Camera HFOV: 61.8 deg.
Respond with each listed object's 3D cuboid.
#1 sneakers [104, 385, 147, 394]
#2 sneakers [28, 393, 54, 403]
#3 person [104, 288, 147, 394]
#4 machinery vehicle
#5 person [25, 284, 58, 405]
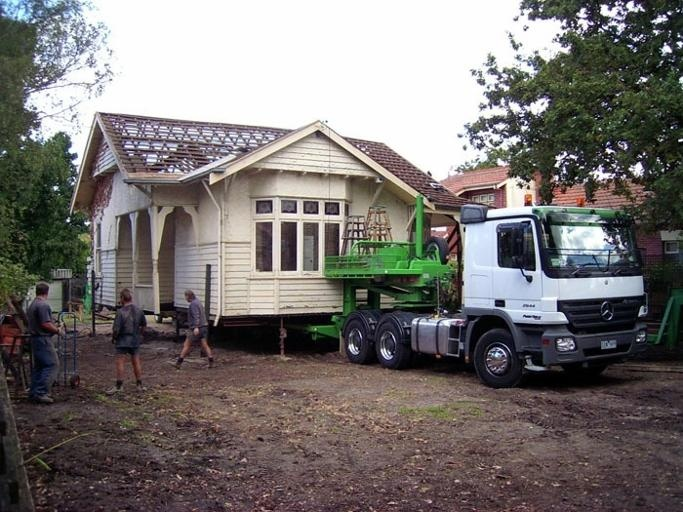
[{"bbox_3d":[-4.131,2.544,10.943,0.662,0.284,0.238,4,-9,-20],"label":"sneakers"},{"bbox_3d":[-5.185,2.411,9.779,0.435,0.190,0.159,3,10,-9],"label":"sneakers"},{"bbox_3d":[-4.179,1.600,11.062,0.423,1.939,0.747,0,1,42],"label":"person"},{"bbox_3d":[2.960,0.943,14.868,3.551,3.679,8.972,0,-3,-30],"label":"machinery vehicle"},{"bbox_3d":[-5.318,1.488,10.174,0.482,1.974,1.230,-1,1,-29],"label":"person"}]
